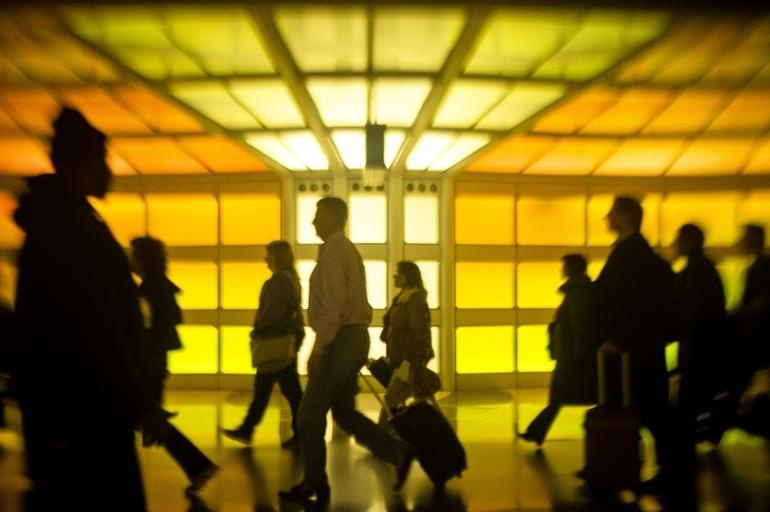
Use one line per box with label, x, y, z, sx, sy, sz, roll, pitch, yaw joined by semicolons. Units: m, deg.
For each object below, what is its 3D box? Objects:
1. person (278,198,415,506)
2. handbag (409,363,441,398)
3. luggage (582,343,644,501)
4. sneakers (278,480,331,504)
person;-0.540;1.042;9.989;1.319;3.393;0.708;-1;6;-8
handbag;0.535;1.648;11.534;0.442;0.337;0.345;2;-10;6
luggage;2.624;1.838;10.113;0.615;1.682;0.344;1;6;11
sneakers;-0.884;2.649;9.872;0.636;0.226;0.217;2;-18;8
